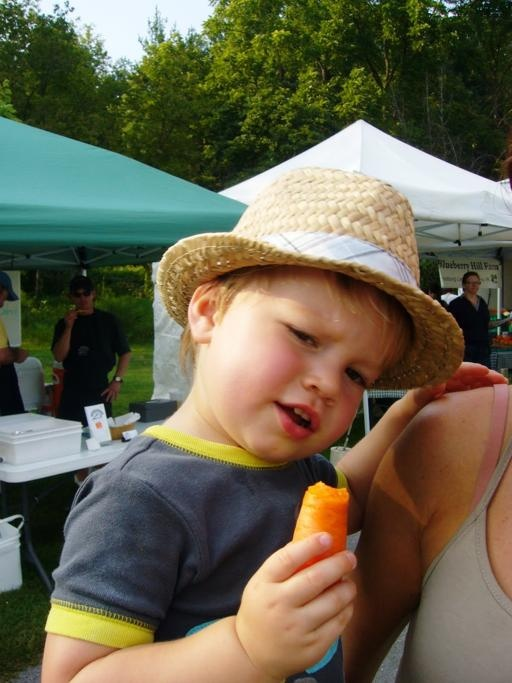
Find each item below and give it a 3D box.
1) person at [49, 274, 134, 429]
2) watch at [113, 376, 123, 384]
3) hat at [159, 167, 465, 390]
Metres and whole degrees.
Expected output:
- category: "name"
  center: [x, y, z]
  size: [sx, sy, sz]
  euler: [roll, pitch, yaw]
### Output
- category: "person"
  center: [-1.607, 0.403, 6.067]
  size: [0.884, 1.929, 0.620]
  euler: [3, 2, -26]
- category: "watch"
  center: [-1.327, 0.378, 6.118]
  size: [0.078, 0.072, 0.073]
  euler: [-21, -26, -16]
- category: "hat"
  center: [0.055, -0.138, 1.281]
  size: [0.499, 0.249, 0.518]
  euler: [26, -19, -30]
